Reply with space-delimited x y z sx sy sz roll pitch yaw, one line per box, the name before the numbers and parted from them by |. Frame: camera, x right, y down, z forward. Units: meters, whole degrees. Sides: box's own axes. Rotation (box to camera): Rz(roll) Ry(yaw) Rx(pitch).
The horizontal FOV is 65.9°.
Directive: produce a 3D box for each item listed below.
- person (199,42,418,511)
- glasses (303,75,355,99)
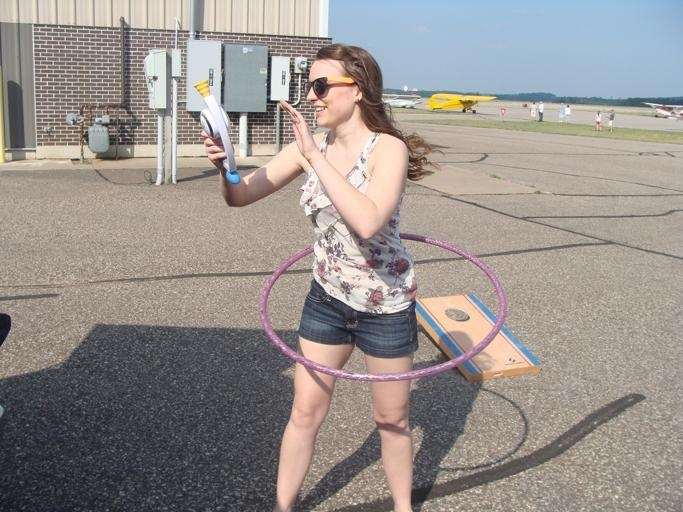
person | -0.047 0.228 2.383 0.911 2.240 0.810 -8 22 -20
glasses | -0.053 -0.687 2.191 0.133 0.034 0.122 -3 4 -21
